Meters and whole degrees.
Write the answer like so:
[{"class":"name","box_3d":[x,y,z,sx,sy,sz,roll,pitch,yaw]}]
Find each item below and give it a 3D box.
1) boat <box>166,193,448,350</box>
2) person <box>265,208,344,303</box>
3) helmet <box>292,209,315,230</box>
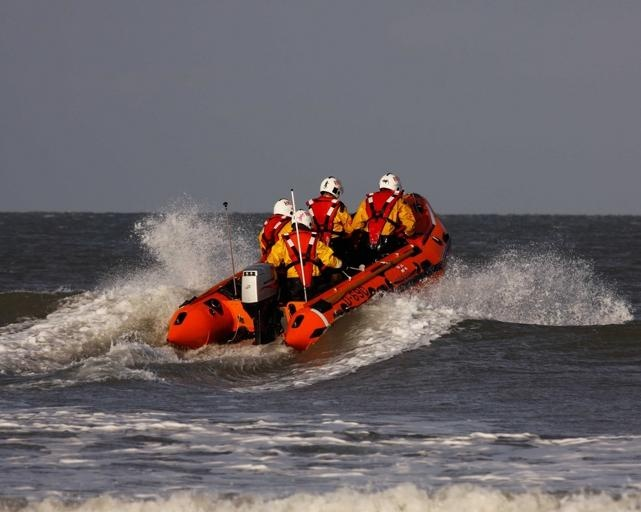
[{"class":"boat","box_3d":[0.198,0.399,13.986,1.838,0.825,3.644,10,22,43]},{"class":"person","box_3d":[-0.231,-0.006,13.444,0.893,1.142,0.434,1,12,7]},{"class":"helmet","box_3d":[-0.217,-0.473,13.497,0.253,0.268,0.320,11,11,19]}]
